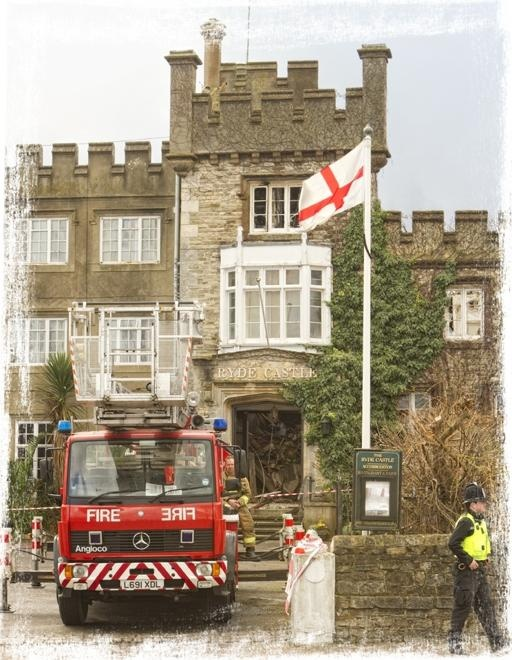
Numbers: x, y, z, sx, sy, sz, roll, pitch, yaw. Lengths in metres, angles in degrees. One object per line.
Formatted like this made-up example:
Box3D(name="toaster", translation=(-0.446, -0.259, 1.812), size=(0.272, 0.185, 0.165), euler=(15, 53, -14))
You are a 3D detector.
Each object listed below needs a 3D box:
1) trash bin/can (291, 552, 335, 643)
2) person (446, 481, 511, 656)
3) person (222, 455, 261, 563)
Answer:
Box3D(name="trash bin/can", translation=(0.770, 3.356, 23.599), size=(0.563, 1.087, 0.283), euler=(-1, -2, 0))
Box3D(name="person", translation=(2.710, 2.901, 22.892), size=(0.635, 2.039, 0.465), euler=(-1, -2, 6))
Box3D(name="person", translation=(-0.206, 2.665, 28.385), size=(0.516, 1.624, 0.515), euler=(-1, -9, -6))
